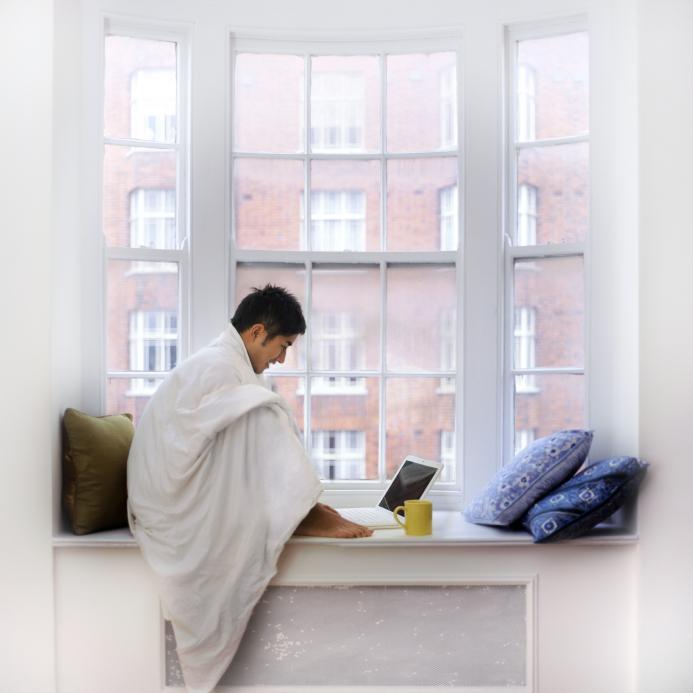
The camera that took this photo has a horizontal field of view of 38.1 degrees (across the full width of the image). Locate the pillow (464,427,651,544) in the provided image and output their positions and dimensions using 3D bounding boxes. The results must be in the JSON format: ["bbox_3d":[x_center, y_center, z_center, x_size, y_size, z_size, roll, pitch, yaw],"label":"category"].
[{"bbox_3d":[0.637,0.420,3.097,0.564,0.310,0.315,-1,0,13],"label":"pillow"}]

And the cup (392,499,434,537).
[{"bbox_3d":[0.206,0.522,3.108,0.084,0.105,0.152,-2,0,-31],"label":"cup"}]

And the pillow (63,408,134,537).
[{"bbox_3d":[-0.757,0.380,3.159,0.126,0.379,0.257,0,1,42],"label":"pillow"}]

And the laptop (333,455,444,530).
[{"bbox_3d":[0.160,0.474,3.370,0.220,0.184,0.238,8,-5,-18],"label":"laptop"}]
